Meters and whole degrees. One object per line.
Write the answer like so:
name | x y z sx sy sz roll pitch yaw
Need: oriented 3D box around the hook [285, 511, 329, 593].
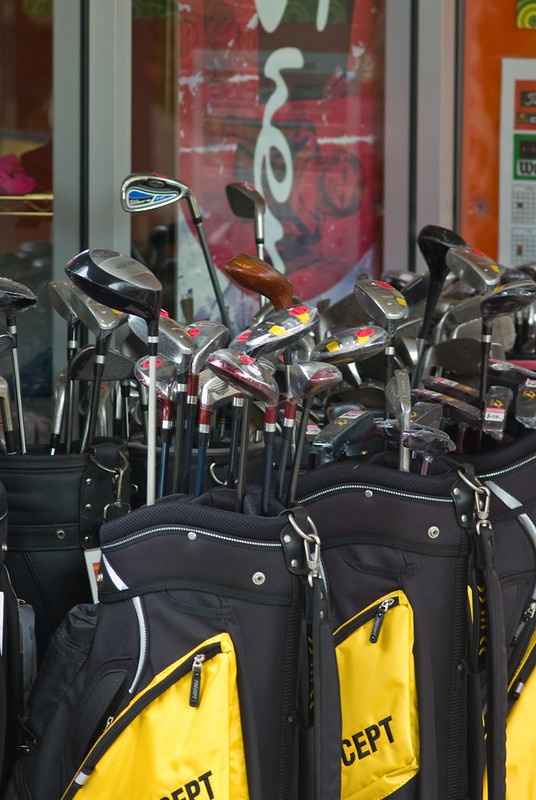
hook | 0.055 0.183 0.889 0.021 0.083 0.052 -7 8 21

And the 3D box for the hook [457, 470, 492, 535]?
hook | 0.280 0.139 1.000 0.057 0.075 0.027 -4 4 -16
